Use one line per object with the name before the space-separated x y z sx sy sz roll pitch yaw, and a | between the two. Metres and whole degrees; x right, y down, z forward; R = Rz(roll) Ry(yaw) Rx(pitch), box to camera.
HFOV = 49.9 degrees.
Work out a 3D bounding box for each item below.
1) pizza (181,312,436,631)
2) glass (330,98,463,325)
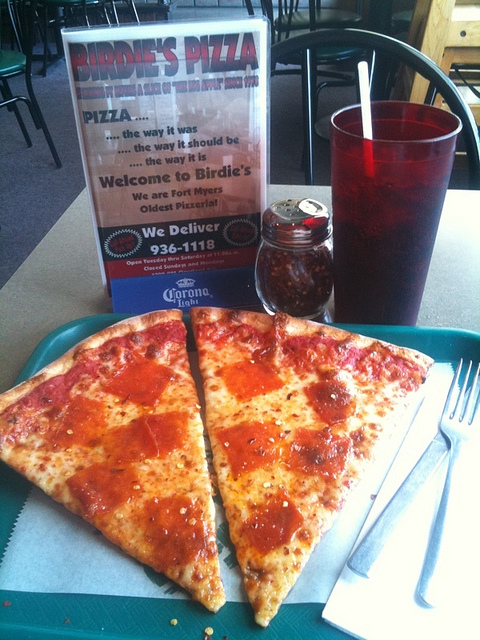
pizza | 0.071 0.111 0.517 0.244 0.057 0.349 3 37 -2
glass | 0.155 -0.107 0.590 0.130 0.250 0.136 13 41 18
